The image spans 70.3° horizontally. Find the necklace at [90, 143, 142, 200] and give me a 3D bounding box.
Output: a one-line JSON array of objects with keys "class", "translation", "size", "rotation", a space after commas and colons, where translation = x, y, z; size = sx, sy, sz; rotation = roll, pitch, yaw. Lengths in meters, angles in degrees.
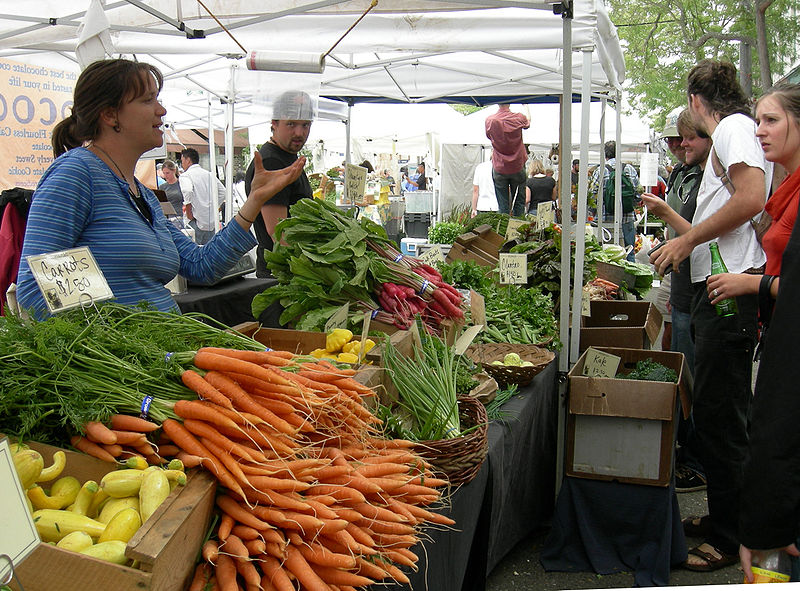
[{"class": "necklace", "translation": [-1.287, -0.542, 2.565], "size": [0.229, 0.062, 0.175], "rotation": [35, 15, 9]}]

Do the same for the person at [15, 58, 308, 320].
[{"class": "person", "translation": [-1.170, -0.486, 2.587], "size": [0.583, 1.139, 1.029], "rotation": [5, 7, 41]}]

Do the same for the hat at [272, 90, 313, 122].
[{"class": "hat", "translation": [-0.756, -1.321, 4.010], "size": [0.234, 0.172, 0.236], "rotation": [0, 15, 5]}]

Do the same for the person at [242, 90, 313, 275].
[{"class": "person", "translation": [-0.907, -0.690, 4.190], "size": [0.439, 1.505, 0.454], "rotation": [18, 18, 39]}]

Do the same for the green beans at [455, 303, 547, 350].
[{"class": "green beans", "translation": [0.707, 0.219, 3.794], "size": [0.483, 0.218, 0.502], "rotation": [5, 10, 18]}]

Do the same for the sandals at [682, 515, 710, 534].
[{"class": "sandals", "translation": [1.950, 1.531, 3.758], "size": [0.141, 0.069, 0.200], "rotation": [18, -17, -17]}]

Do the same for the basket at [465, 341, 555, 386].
[{"class": "basket", "translation": [0.653, 0.383, 3.339], "size": [0.454, 0.228, 0.419], "rotation": [10, 14, 24]}]

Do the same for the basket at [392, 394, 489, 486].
[{"class": "basket", "translation": [0.146, 0.564, 2.299], "size": [0.306, 0.258, 0.358], "rotation": [11, 15, 24]}]

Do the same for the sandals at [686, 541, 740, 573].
[{"class": "sandals", "translation": [1.899, 1.635, 3.523], "size": [0.367, 0.101, 0.146], "rotation": [1, -4, -13]}]

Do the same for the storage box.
[{"class": "storage box", "translation": [1.522, 0.692, 3.897], "size": [0.713, 0.723, 1.138], "rotation": [3, 7, 20]}]

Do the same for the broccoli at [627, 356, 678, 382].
[{"class": "broccoli", "translation": [1.596, 0.485, 3.580], "size": [0.188, 0.093, 0.176], "rotation": [3, -1, -14]}]
